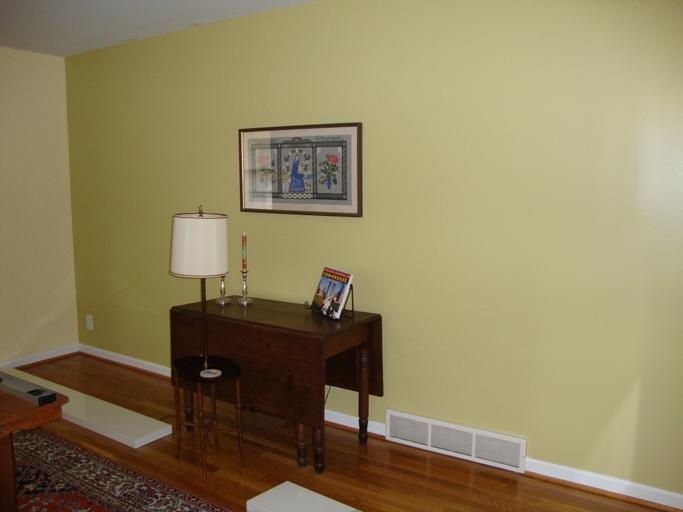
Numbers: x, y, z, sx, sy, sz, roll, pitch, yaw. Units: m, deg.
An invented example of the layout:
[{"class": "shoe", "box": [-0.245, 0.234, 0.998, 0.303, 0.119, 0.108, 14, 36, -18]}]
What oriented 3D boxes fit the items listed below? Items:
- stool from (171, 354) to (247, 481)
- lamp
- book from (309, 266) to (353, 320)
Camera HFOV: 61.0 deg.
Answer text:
[{"class": "stool", "box": [-0.856, 1.046, 3.742, 0.589, 0.733, 0.497, 9, 11, 43]}, {"class": "lamp", "box": [-0.869, 0.220, 3.597, 0.363, 0.968, 0.612, -4, 14, -13]}, {"class": "book", "box": [-0.062, 0.253, 3.899, 0.046, 0.312, 0.288, 17, -1, -36]}]
